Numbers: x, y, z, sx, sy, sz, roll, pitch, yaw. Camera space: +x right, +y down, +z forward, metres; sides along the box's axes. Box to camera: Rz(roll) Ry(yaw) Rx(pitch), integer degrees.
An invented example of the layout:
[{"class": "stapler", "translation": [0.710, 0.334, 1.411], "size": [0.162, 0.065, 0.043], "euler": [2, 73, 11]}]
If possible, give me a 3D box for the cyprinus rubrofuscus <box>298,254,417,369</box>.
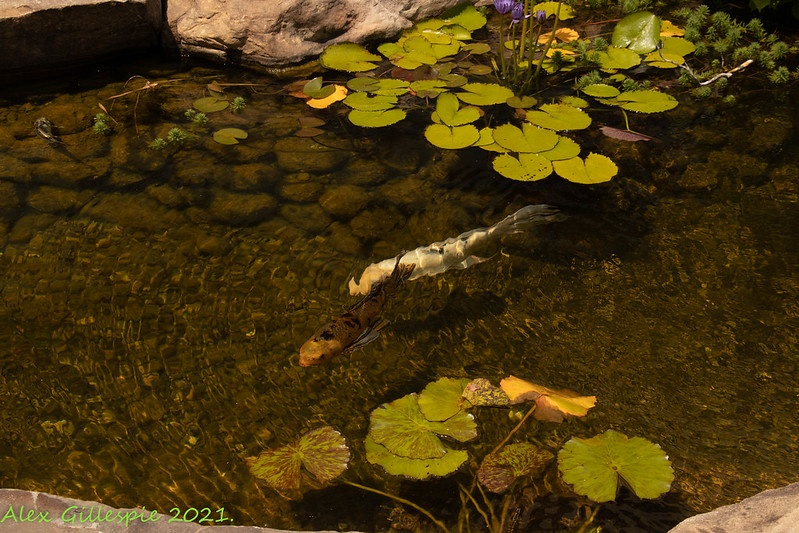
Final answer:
[{"class": "cyprinus rubrofuscus", "translation": [-0.244, 0.300, 4.810], "size": [1.268, 0.385, 0.286], "euler": [-32, 56, -24]}]
